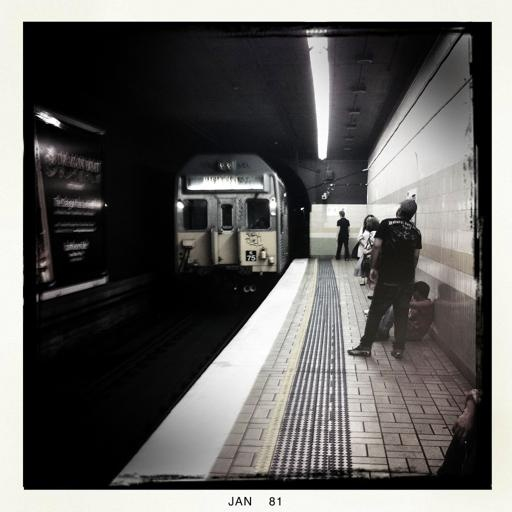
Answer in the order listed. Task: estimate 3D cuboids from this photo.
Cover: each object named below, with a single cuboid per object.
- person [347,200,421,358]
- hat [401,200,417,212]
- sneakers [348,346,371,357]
[{"bbox_3d":[1.521,0.199,4.736,0.524,1.928,0.525,-1,18,-7],"label":"person"},{"bbox_3d":[1.616,-0.531,4.368,0.134,0.124,0.128,-3,10,-39],"label":"hat"},{"bbox_3d":[1.222,1.134,4.923,0.266,0.147,0.107,4,3,5],"label":"sneakers"}]
